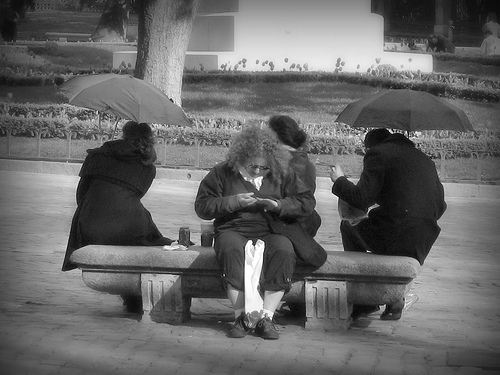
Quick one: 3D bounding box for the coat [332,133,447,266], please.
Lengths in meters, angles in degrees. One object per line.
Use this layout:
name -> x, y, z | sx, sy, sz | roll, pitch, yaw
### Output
coat -> 1.429, 0.285, 10.395 | 1.353, 1.912, 1.031 | 6, 1, 4

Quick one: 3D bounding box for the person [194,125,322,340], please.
person -> 0.084, 0.455, 9.805 | 1.301, 2.165, 0.975 | 2, 9, -2

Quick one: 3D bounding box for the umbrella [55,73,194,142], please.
umbrella -> -1.397, -0.925, 10.655 | 1.005, 0.621, 1.004 | 4, 23, -47
